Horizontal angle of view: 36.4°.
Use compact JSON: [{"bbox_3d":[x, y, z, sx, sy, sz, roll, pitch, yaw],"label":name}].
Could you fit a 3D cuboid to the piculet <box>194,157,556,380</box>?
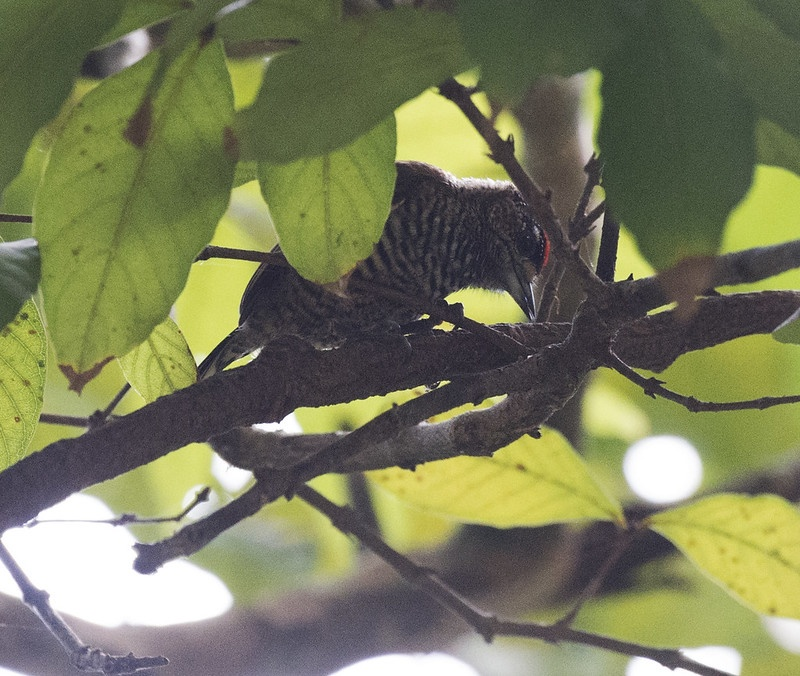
[{"bbox_3d":[-0.043,-0.072,1.552,0.509,0.258,0.203,-4,-29,21],"label":"piculet"}]
